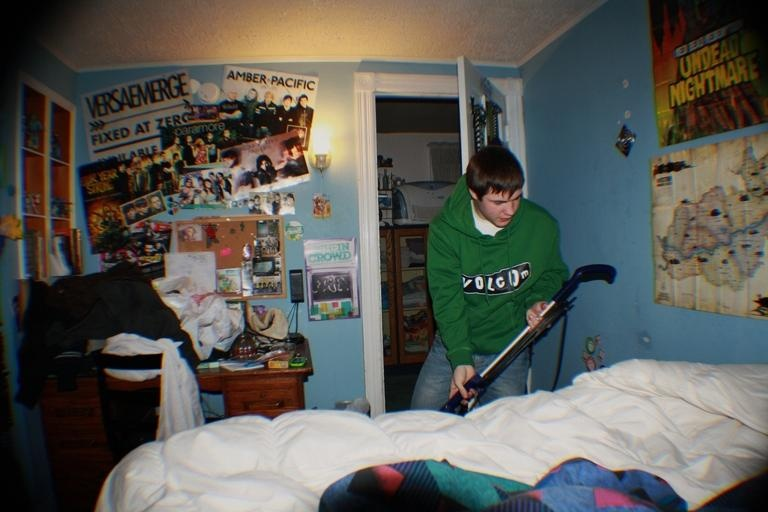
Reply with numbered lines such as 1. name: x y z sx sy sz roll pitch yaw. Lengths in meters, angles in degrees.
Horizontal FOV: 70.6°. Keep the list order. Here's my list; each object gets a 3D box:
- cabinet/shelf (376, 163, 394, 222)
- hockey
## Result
1. cabinet/shelf: 0.036 -0.758 6.501 0.185 0.723 0.555 -3 0 2
2. hockey: 0.850 0.512 3.187 1.346 0.189 0.161 -42 27 -7
